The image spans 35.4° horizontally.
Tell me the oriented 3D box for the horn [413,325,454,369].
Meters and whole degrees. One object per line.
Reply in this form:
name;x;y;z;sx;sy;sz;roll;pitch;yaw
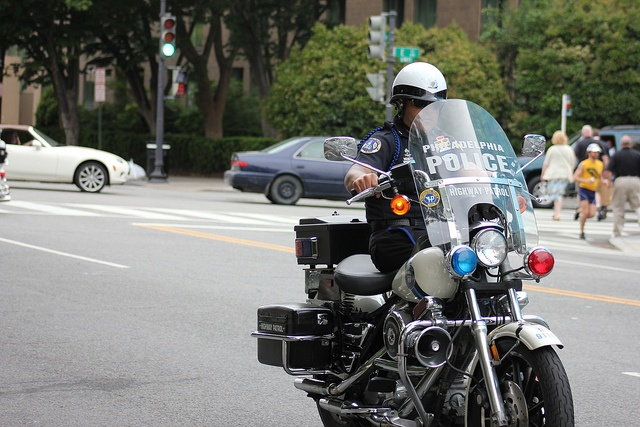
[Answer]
horn;1.190;1.327;10.251;0.434;0.407;0.229;-3;5;-8

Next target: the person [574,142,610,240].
person;6.418;-0.498;22.816;0.681;2.071;0.938;0;1;4

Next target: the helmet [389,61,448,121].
helmet;1.120;-1.375;10.980;0.453;0.420;0.524;-3;5;-38
